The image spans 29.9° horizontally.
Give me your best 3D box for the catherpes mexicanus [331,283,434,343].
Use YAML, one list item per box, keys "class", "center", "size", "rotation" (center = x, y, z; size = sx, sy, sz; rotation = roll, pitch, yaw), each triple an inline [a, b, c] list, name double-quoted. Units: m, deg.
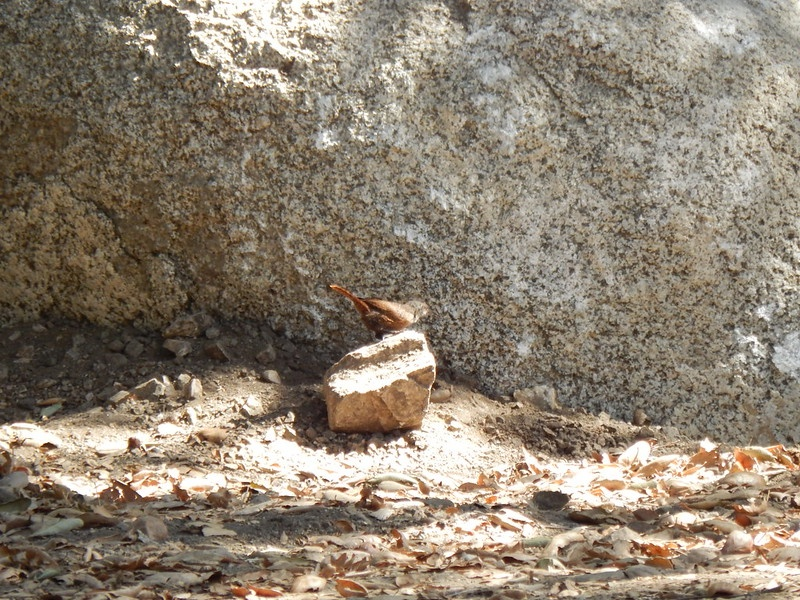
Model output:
- class: "catherpes mexicanus"
  center: [-0.132, 0.085, 8.092]
  size: [0.644, 0.194, 0.243]
  rotation: [15, 82, -35]
